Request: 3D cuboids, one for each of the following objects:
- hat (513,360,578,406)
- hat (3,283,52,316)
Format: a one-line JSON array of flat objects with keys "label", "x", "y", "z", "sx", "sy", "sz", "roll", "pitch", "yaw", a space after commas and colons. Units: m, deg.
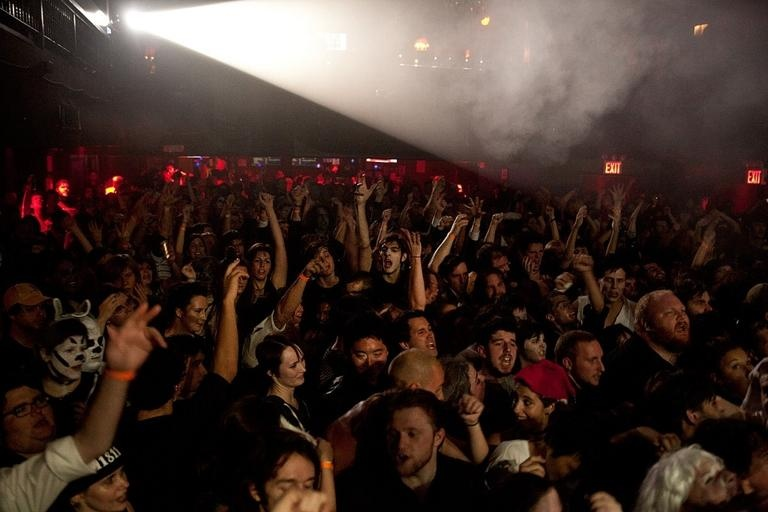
[{"label": "hat", "x": 1.485, "y": 1.180, "z": 5.518, "sx": 0.445, "sy": 0.194, "sz": 0.322, "roll": -7, "pitch": 32, "yaw": -21}, {"label": "hat", "x": -3.273, "y": 0.398, "z": 5.656, "sx": 0.348, "sy": 0.205, "sz": 0.249, "roll": -15, "pitch": 1, "yaw": -6}]
